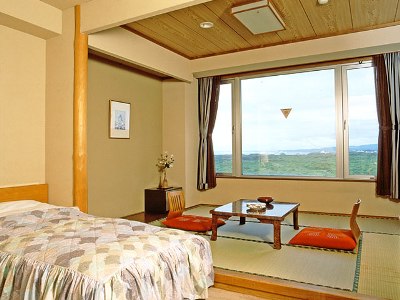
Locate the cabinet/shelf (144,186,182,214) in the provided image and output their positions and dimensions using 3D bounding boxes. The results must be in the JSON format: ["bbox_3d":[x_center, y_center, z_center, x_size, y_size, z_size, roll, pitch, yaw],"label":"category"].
[{"bbox_3d":[-0.782,1.004,5.688,0.549,0.605,1.014,-2,-4,24],"label":"cabinet/shelf"}]

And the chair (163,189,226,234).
[{"bbox_3d":[-0.136,0.920,4.339,0.711,0.449,0.715,-1,-5,27],"label":"chair"}]

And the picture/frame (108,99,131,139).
[{"bbox_3d":[-1.532,-0.585,5.146,0.059,0.715,0.499,0,2,31],"label":"picture/frame"}]

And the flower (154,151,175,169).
[{"bbox_3d":[-0.754,0.220,5.837,0.409,0.403,0.666,-1,2,-9],"label":"flower"}]
